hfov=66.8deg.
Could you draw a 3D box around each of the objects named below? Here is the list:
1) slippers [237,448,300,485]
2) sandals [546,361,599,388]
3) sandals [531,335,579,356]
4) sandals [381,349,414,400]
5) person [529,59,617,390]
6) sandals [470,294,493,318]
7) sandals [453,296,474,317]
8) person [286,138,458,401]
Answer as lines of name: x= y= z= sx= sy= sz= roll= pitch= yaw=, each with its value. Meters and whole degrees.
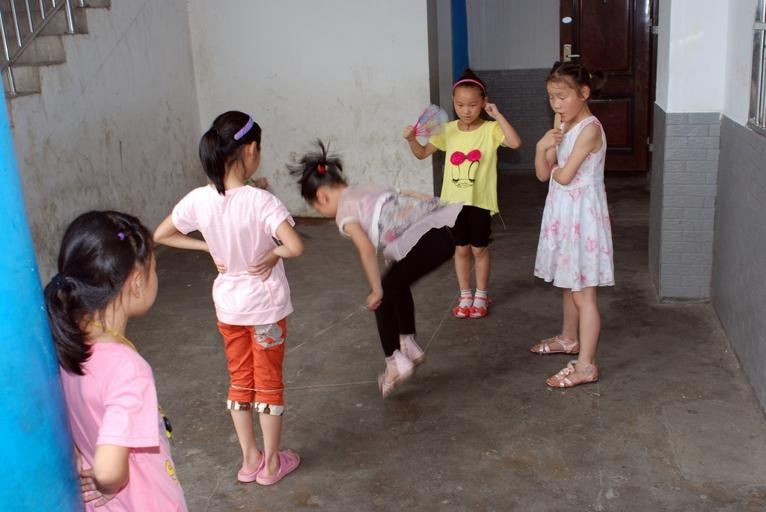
slippers: x=-0.502 y=0.996 z=2.734 sx=0.136 sy=0.085 sz=0.233 roll=8 pitch=19 yaw=23
sandals: x=1.029 y=0.652 z=3.149 sx=0.239 sy=0.100 sz=0.138 roll=-6 pitch=14 yaw=5
sandals: x=1.036 y=0.542 z=3.460 sx=0.202 sy=0.086 sz=0.130 roll=4 pitch=5 yaw=17
sandals: x=0.030 y=0.637 z=3.063 sx=0.113 sy=0.149 sz=0.321 roll=-29 pitch=-12 yaw=-41
person: x=1.023 y=-0.160 z=3.116 sx=0.431 sy=1.673 sz=0.521 roll=2 pitch=18 yaw=16
sandals: x=0.665 y=0.353 z=3.999 sx=0.092 sy=0.069 sz=0.241 roll=-2 pitch=17 yaw=10
sandals: x=0.544 y=0.353 z=4.005 sx=0.079 sy=0.071 sz=0.180 roll=1 pitch=18 yaw=18
person: x=0.008 y=0.106 z=2.958 sx=0.863 sy=1.307 sz=0.321 roll=-14 pitch=20 yaw=-30
